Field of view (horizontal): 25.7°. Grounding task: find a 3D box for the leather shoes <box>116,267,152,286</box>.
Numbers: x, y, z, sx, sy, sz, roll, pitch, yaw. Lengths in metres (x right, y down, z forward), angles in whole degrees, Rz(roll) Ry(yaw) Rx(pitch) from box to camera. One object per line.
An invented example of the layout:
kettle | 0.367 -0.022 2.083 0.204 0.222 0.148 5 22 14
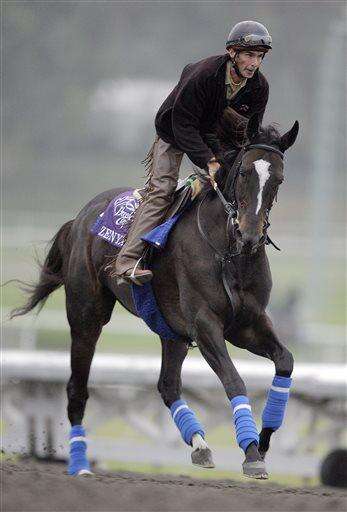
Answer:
leather shoes | -0.185 0.107 3.878 0.225 0.068 0.082 5 30 37

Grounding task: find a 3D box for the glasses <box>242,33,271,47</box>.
glasses | 0.407 -1.008 3.581 0.159 0.065 0.053 0 9 -37

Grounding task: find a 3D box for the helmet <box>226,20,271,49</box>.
helmet | 0.352 -1.047 3.617 0.152 0.087 0.187 1 -1 -32

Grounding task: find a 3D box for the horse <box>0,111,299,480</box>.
horse | -0.082 0.332 4.196 0.779 1.700 2.791 5 -7 -29
